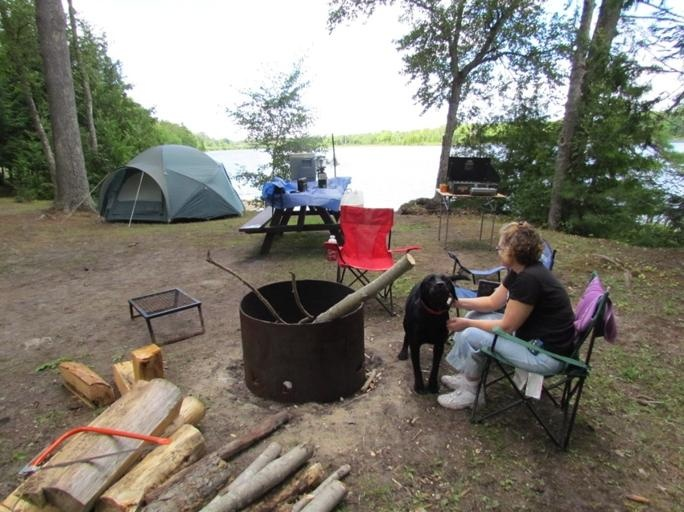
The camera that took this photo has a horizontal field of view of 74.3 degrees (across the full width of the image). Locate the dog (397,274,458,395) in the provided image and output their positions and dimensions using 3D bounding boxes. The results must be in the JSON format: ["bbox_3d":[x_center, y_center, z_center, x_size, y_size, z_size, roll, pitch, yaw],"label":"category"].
[{"bbox_3d":[0.751,0.679,4.202,0.623,1.001,0.576,4,17,2],"label":"dog"}]

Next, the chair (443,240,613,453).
[{"bbox_3d":[1.724,0.818,3.916,0.919,1.324,0.830,7,17,23],"label":"chair"}]

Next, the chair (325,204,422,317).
[{"bbox_3d":[0.325,-0.099,6.280,1.342,1.570,1.255,0,13,-5],"label":"chair"}]

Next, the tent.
[{"bbox_3d":[-4.487,-2.117,12.622,3.604,1.833,3.544,-3,13,-5],"label":"tent"}]

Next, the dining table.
[{"bbox_3d":[-0.720,-0.694,7.978,1.398,1.251,1.876,2,13,-7],"label":"dining table"}]

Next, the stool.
[{"bbox_3d":[-2.032,0.594,5.258,0.668,0.413,0.864,-12,21,-33],"label":"stool"}]

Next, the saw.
[{"bbox_3d":[-1.842,1.397,3.411,1.019,0.374,0.368,-5,16,-18],"label":"saw"}]
